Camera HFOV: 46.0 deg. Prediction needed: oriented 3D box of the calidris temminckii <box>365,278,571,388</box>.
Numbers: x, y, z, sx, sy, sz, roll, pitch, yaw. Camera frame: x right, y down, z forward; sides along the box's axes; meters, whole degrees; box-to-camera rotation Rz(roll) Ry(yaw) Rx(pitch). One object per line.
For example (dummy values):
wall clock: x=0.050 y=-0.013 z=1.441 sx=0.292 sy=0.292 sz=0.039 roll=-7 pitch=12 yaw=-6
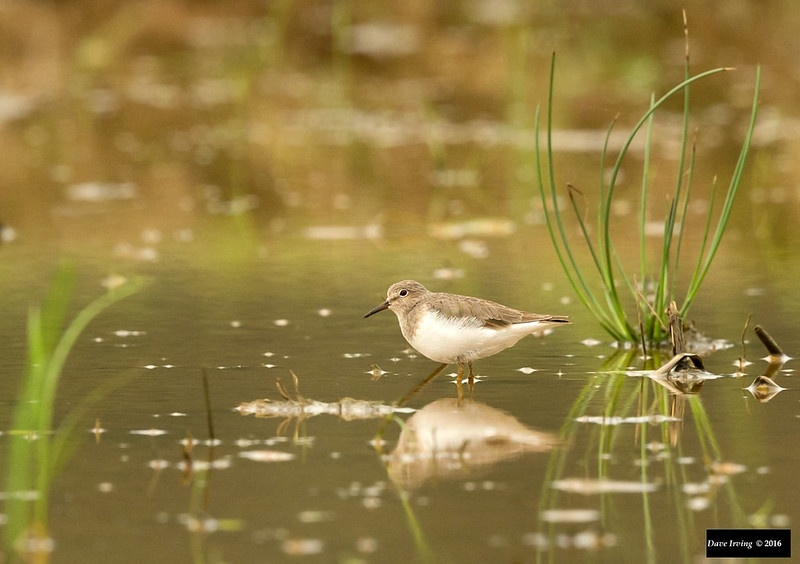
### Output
calidris temminckii: x=0.349 y=0.239 z=5.008 sx=0.526 sy=0.610 sz=0.886 roll=3 pitch=-11 yaw=-40
